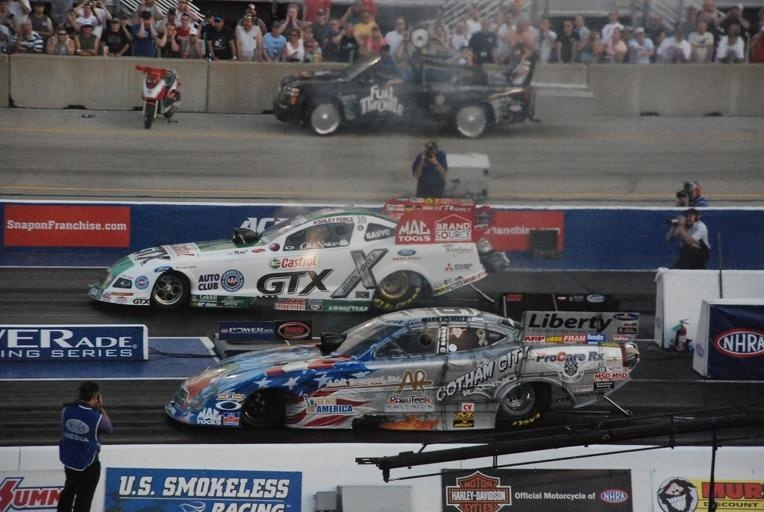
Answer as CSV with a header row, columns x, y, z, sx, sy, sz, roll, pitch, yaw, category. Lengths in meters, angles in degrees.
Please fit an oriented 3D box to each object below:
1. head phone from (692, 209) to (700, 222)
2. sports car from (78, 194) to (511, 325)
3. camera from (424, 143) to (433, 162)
x,y,z,sx,sy,sz,roll,pitch,yaw,category
6.305,-0.816,42.450,0.099,0.255,0.322,-6,-12,20,head phone
-1.488,-0.043,42.576,7.947,2.004,2.469,1,8,1,sports car
1.019,-2.197,43.911,0.121,0.303,0.247,12,-8,-36,camera
